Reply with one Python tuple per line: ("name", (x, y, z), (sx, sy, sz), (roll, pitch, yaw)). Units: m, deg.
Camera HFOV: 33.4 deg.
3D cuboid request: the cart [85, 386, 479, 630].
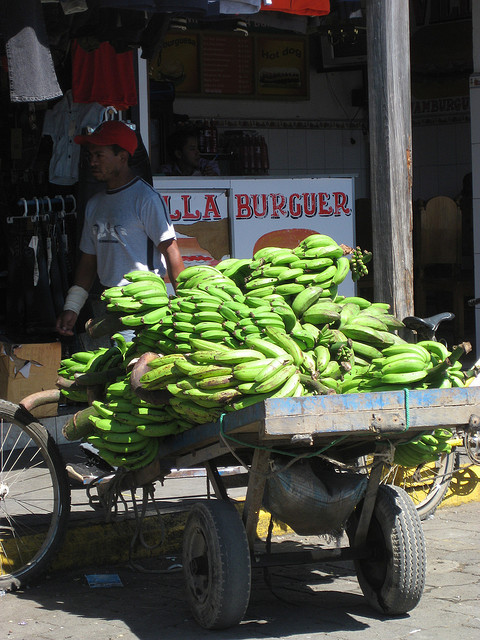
("cart", (0.101, 0.746, 3.412), (1.132, 0.863, 1.765), (0, -1, -24))
